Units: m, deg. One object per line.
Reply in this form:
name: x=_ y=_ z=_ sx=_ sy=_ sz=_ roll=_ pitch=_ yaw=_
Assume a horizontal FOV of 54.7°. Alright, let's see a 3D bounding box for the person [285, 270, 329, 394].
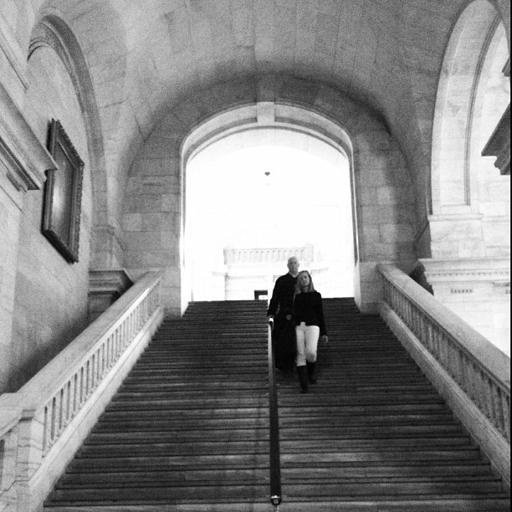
person: x=0.605 y=0.812 z=5.605 sx=0.393 sy=1.206 sz=0.943 roll=-1 pitch=3 yaw=5
